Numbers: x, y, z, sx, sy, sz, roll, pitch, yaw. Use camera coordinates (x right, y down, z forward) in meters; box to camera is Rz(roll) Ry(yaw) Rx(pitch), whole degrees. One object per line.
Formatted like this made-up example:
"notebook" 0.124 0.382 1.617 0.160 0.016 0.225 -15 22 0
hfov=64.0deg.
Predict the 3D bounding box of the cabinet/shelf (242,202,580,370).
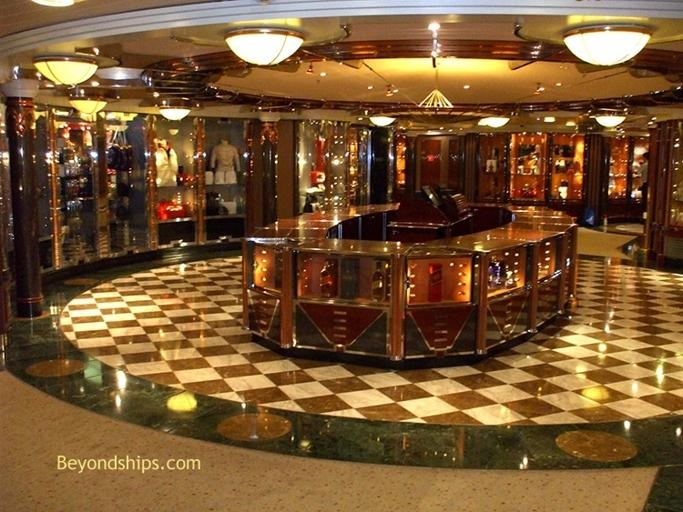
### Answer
"cabinet/shelf" 1.120 0.206 7.221 3.019 0.563 3.197 3 9 20

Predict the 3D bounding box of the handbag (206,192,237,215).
"handbag" -2.884 -1.255 13.032 0.699 0.578 0.153 -10 15 -44

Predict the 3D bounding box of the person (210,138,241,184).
"person" -2.788 -2.221 12.904 0.682 1.063 0.158 -8 14 -32

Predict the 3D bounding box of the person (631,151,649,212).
"person" 10.242 -2.533 18.608 0.320 2.160 0.899 4 12 22
